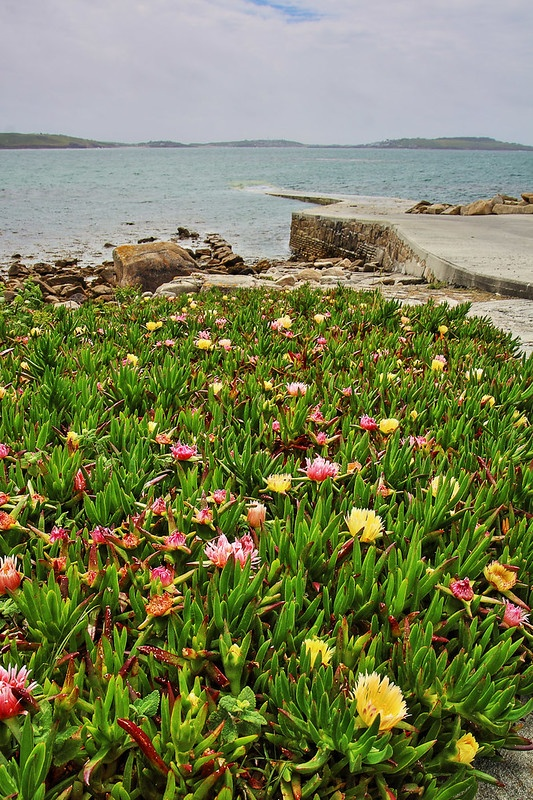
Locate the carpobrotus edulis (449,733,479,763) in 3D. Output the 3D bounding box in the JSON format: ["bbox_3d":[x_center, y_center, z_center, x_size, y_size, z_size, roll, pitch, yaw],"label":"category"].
[{"bbox_3d":[0.359,0.630,1.106,0.050,0.029,0.056,-5,-20,-46],"label":"carpobrotus edulis"}]
